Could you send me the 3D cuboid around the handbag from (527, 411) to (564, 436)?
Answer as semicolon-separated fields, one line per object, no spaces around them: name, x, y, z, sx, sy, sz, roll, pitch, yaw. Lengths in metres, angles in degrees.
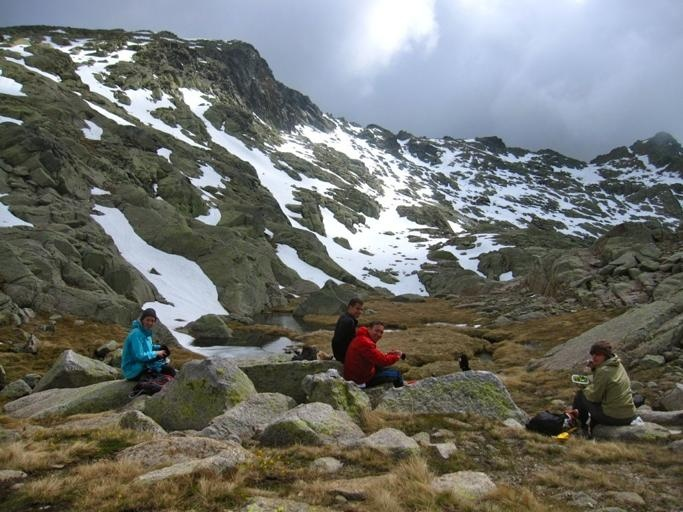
handbag;10.000;8.272;25.201;1.605;0.488;1.148;-3;1;-37

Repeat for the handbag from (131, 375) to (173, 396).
handbag;-10.212;7.010;27.666;1.577;1.261;0.833;14;-10;-14
